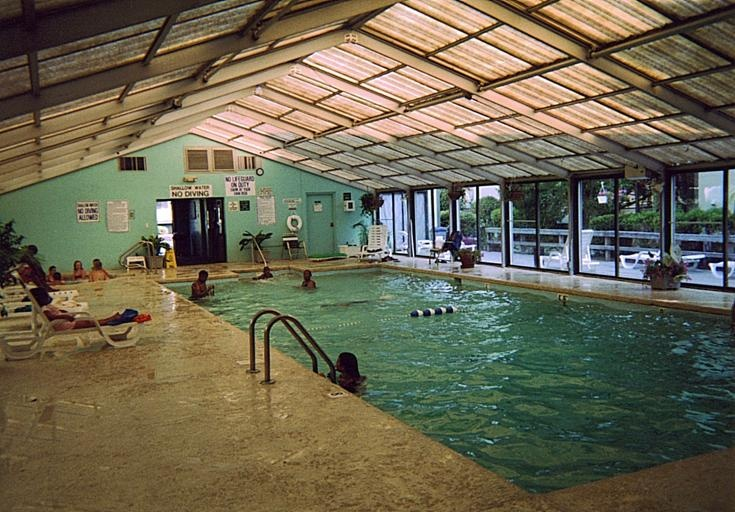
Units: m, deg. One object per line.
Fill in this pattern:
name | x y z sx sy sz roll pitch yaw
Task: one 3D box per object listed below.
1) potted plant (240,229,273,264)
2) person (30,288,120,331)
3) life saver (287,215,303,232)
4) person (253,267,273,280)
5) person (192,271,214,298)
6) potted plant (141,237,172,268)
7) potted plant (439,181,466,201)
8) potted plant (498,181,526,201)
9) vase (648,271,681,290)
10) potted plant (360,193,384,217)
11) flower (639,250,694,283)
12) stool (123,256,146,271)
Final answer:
potted plant | -4.481 -0.452 21.676 1.897 1.303 1.625 -1 -2 -25
person | -4.273 0.820 7.760 1.798 0.680 0.679 -1 4 -15
life saver | -3.334 -1.468 22.447 0.701 0.818 0.389 -10 13 -22
person | -3.882 0.641 18.200 0.549 0.588 0.251 3 -19 2
person | -4.843 0.824 14.420 0.532 0.783 0.562 -5 11 5
potted plant | -8.612 -0.115 20.159 1.849 1.274 1.434 1 -5 -28
potted plant | 3.136 -2.445 18.689 0.912 0.615 0.823 -2 -3 29
potted plant | 4.844 -2.130 16.269 0.832 0.608 0.841 1 -4 -11
vase | 7.056 0.619 11.826 0.675 0.238 0.396 1 0 18
potted plant | 0.178 -2.435 23.286 0.926 1.052 0.970 -7 11 -6
flower | 7.297 0.231 12.007 1.077 0.515 0.934 -3 1 -17
stool | -9.221 0.292 19.660 1.187 0.564 0.661 0 -2 -14
